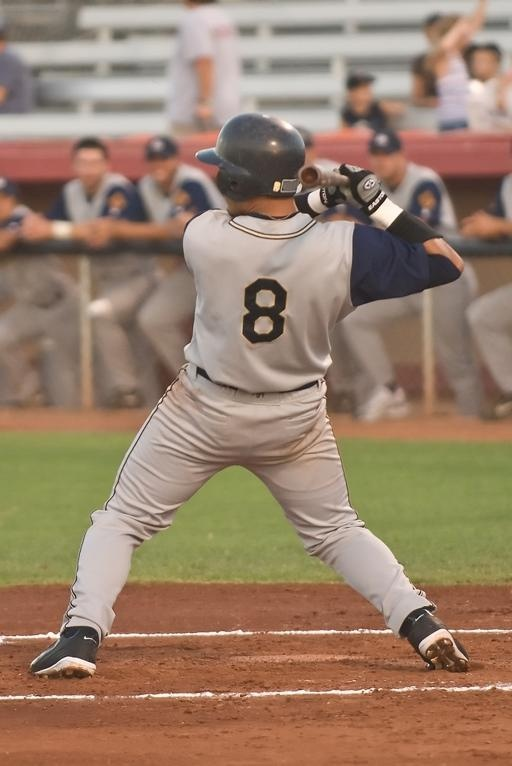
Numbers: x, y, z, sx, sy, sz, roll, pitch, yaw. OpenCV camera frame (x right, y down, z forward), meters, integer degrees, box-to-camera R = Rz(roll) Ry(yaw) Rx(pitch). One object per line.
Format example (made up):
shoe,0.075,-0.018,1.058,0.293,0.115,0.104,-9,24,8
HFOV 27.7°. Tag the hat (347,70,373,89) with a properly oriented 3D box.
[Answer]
hat,0.770,-2.251,7.672,0.130,0.131,0.152,5,-25,2

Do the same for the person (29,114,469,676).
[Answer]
person,0.018,0.034,2.318,0.971,1.245,0.449,2,13,-4

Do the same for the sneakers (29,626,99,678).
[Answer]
sneakers,-0.414,0.587,2.254,0.147,0.147,0.115,1,13,-11

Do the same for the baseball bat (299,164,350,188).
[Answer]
baseball bat,0.149,-0.451,2.270,0.056,0.047,0.130,11,13,34
